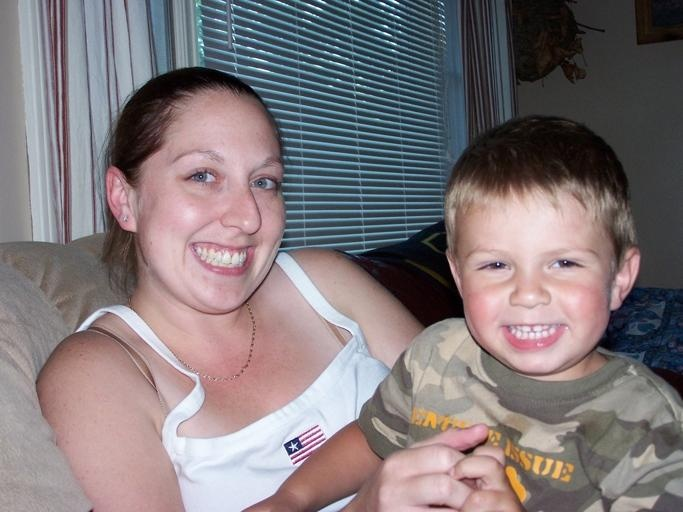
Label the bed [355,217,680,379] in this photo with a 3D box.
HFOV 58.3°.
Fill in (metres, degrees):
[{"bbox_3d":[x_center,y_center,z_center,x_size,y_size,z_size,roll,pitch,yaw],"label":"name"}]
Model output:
[{"bbox_3d":[0.629,0.244,2.219,0.837,0.280,0.747,20,45,29],"label":"bed"}]
